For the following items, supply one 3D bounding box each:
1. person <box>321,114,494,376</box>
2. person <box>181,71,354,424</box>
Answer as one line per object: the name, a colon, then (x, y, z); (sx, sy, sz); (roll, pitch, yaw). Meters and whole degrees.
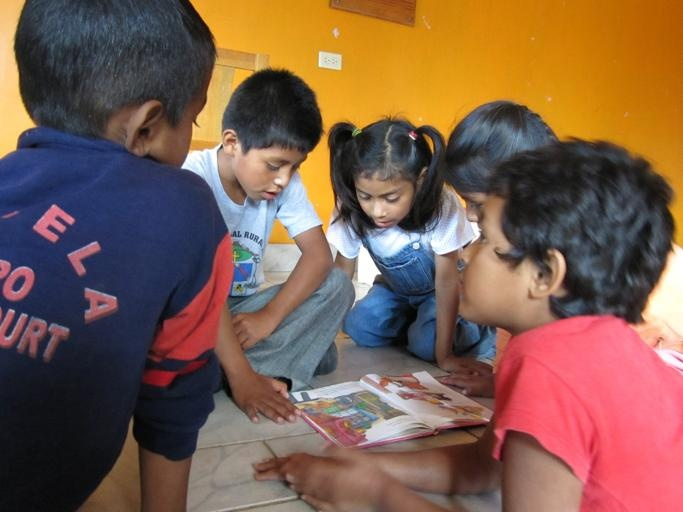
person: (0.237, -0.060, 1.950); (0.604, 0.846, 0.498); (6, 26, 22)
person: (-0.215, -0.066, 1.592); (0.474, 0.839, 0.644); (4, 7, -27)
